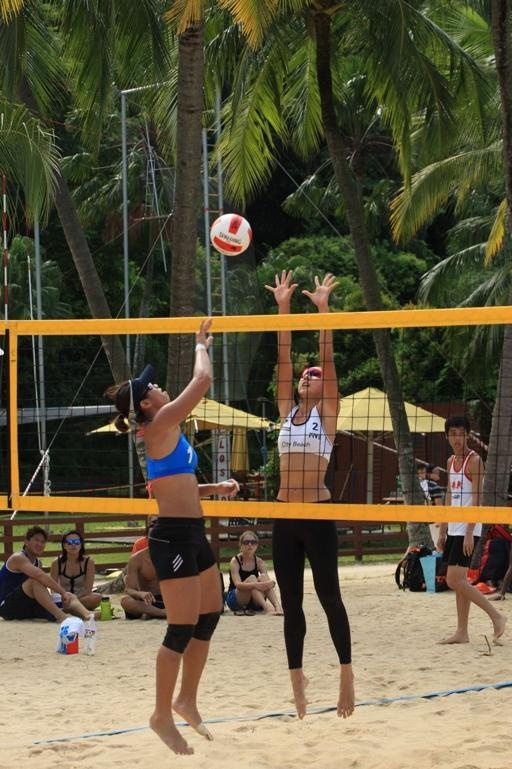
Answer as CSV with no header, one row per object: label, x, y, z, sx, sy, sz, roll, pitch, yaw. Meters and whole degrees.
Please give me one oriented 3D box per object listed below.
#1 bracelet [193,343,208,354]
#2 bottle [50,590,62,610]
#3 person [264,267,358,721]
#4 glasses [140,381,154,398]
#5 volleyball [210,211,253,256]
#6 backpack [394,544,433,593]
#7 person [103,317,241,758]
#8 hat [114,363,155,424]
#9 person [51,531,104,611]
bracelet,-0.290,-0.184,5.677,0.041,0.044,0.043,1,-9,3
bottle,-1.740,1.875,9.947,0.126,0.158,0.141,-3,-5,-11
person,0.301,0.689,6.161,0.442,2.537,1.064,-1,9,1
glasses,-0.540,0.025,5.618,0.025,0.066,0.047,15,-1,-24
volleyball,-0.199,-1.203,9.087,0.292,0.402,0.327,-2,6,-7
backpack,1.515,1.791,11.099,0.402,0.481,0.348,-2,-7,4
person,-0.411,0.824,5.663,0.564,2.190,0.780,-1,9,1
hat,-0.597,0.053,5.662,0.173,0.305,0.147,5,-4,45
person,-1.571,1.648,10.039,0.575,0.909,0.624,-1,-1,-14
